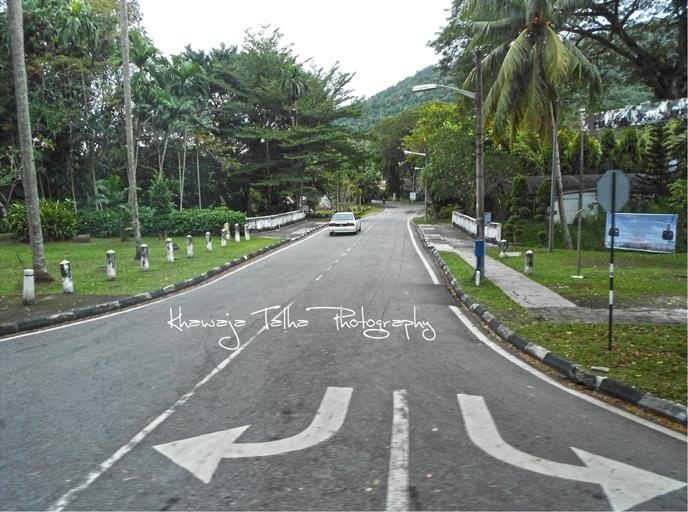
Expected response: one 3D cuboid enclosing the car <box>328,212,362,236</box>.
[{"bbox_3d":[-0.003,-2.231,38.696,2.017,1.426,2.499,-1,9,-4],"label":"car"}]
